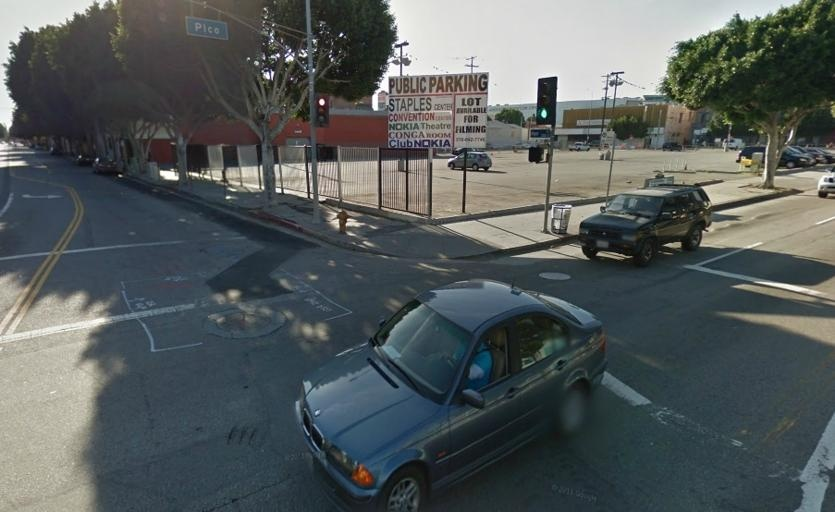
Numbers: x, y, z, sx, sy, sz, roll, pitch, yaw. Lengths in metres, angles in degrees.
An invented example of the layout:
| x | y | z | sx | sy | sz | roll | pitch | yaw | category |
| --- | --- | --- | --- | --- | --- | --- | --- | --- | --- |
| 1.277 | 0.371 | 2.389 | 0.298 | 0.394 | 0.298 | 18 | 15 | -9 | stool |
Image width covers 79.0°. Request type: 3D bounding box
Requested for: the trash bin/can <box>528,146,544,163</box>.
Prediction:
| x | y | z | sx | sy | sz | roll | pitch | yaw | category |
| --- | --- | --- | --- | --- | --- | --- | --- | --- | --- |
| 5.081 | -4.348 | 21.747 | 0.724 | 0.710 | 0.431 | -16 | 24 | -39 | trash bin/can |

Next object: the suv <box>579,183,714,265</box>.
| x | y | z | sx | sy | sz | roll | pitch | yaw | category |
| --- | --- | --- | --- | --- | --- | --- | --- | --- | --- |
| 8.932 | -1.262 | 19.905 | 5.042 | 2.325 | 2.760 | -10 | 13 | -33 | suv |

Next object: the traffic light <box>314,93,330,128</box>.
| x | y | z | sx | sy | sz | roll | pitch | yaw | category |
| --- | --- | --- | --- | --- | --- | --- | --- | --- | --- |
| -4.526 | -6.764 | 23.819 | 0.652 | 1.335 | 0.429 | 3 | 19 | 13 | traffic light |

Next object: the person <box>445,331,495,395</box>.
| x | y | z | sx | sy | sz | roll | pitch | yaw | category |
| --- | --- | --- | --- | --- | --- | --- | --- | --- | --- |
| 1.339 | 2.213 | 10.540 | 0.434 | 1.116 | 1.088 | 14 | 23 | 38 | person |

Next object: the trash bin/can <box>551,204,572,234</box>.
| x | y | z | sx | sy | sz | roll | pitch | yaw | category |
| --- | --- | --- | --- | --- | --- | --- | --- | --- | --- |
| 6.603 | -1.688 | 22.890 | 1.141 | 1.379 | 1.156 | 9 | 17 | 32 | trash bin/can |
